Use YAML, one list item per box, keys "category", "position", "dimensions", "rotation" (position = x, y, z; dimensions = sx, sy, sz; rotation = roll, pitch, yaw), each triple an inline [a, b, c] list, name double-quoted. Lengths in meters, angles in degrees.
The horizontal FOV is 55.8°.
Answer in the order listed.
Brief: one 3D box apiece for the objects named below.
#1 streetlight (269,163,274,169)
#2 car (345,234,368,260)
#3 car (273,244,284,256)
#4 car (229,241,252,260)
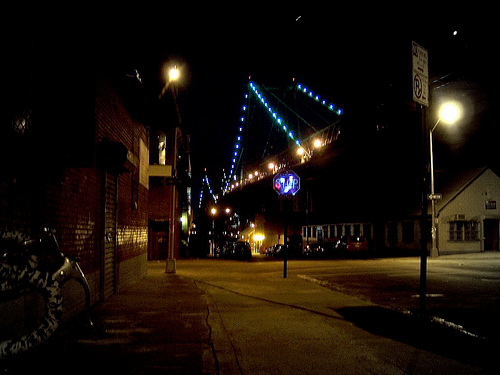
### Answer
- category: "streetlight"
  position: [3.900, -4.061, 86.330]
  dimensions: [0.177, 0.923, 0.803]
  rotation: [8, -13, -19]
- category: "car"
  position: [10.775, 6.412, 47.793]
  dimensions: [1.985, 2.564, 4.078]
  rotation: [0, -2, 7]
- category: "car"
  position: [2.997, 6.817, 50.908]
  dimensions: [0.953, 1.427, 4.097]
  rotation: [0, -12, 0]
- category: "car"
  position: [-0.986, 5.840, 43.842]
  dimensions: [1.902, 2.045, 5.665]
  rotation: [1, -12, -4]
